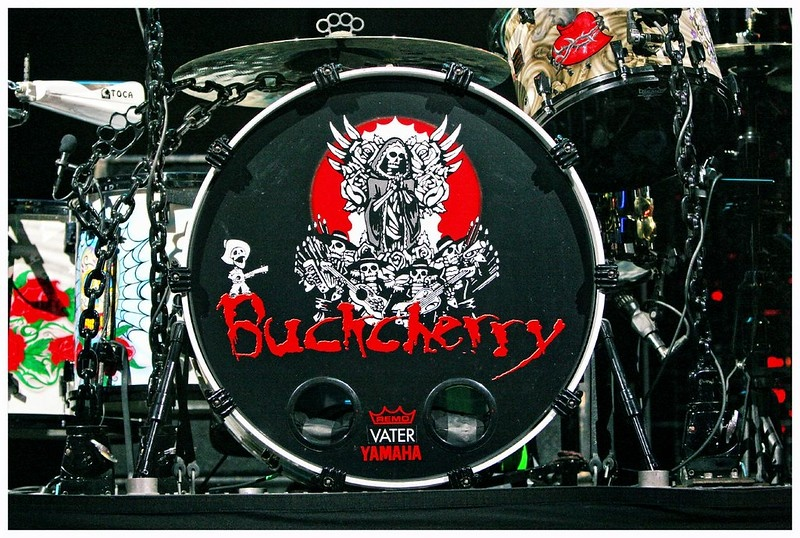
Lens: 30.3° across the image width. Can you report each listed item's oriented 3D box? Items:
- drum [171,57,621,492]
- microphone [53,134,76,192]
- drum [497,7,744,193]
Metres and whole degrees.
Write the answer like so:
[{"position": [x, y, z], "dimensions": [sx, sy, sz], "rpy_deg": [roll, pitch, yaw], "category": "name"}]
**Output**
[{"position": [-0.009, 0.020, 5.728], "dimensions": [1.985, 1.760, 0.728], "rpy_deg": [-1, -3, -1], "category": "drum"}, {"position": [-1.389, -0.435, 6.060], "dimensions": [0.103, 0.241, 0.432], "rpy_deg": [-5, -1, -13], "category": "microphone"}, {"position": [0.902, -0.813, 6.245], "dimensions": [0.826, 0.558, 0.784], "rpy_deg": [-12, -29, -7], "category": "drum"}]
